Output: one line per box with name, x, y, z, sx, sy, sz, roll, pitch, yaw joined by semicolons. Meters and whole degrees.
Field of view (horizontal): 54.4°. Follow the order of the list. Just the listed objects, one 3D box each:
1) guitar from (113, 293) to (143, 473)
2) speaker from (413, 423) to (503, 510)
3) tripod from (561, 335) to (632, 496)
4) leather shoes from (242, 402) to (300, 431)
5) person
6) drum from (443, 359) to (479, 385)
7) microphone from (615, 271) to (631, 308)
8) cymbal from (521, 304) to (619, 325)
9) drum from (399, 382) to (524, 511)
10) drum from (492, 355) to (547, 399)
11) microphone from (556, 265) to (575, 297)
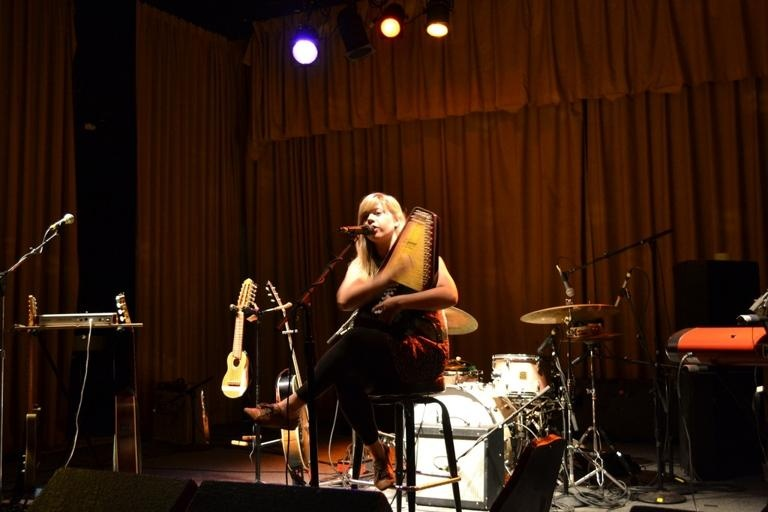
guitar;-2.069;0.989;6.062;0.244;1.480;0.536;3;-11;-20
speaker;0.623;1.706;6.300;0.776;0.839;0.597;-2;-6;19
tripod;1.953;1.455;6.886;0.489;1.465;1.620;-4;-12;17
leather shoes;-0.767;1.092;5.217;0.443;0.190;0.155;19;-9;-12
person;-0.099;0.549;5.125;1.193;2.019;0.421;-2;-10;5
drum;0.659;1.066;6.711;0.252;0.168;0.256;-1;-9;0
microphone;2.430;0.340;7.606;0.088;0.409;0.138;28;-46;-6
cymbal;1.611;0.503;6.491;0.710;0.169;0.518;4;-13;-21
drum;0.731;1.590;6.411;1.063;1.614;0.906;-4;-12;22
drum;1.172;1.059;6.805;0.375;0.302;0.401;0;-22;0
microphone;1.877;0.261;7.772;0.079;0.299;0.206;-21;10;-18
